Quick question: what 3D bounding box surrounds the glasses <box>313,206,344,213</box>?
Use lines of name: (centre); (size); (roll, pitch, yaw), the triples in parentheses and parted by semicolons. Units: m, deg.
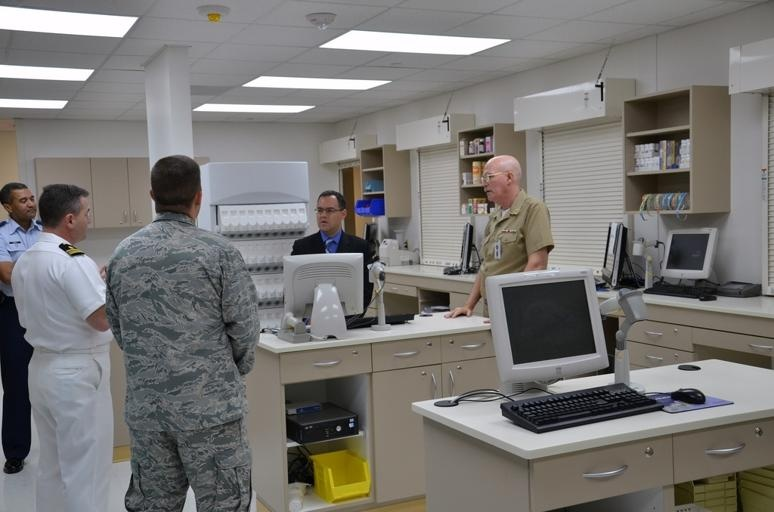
glasses: (-0.441, -0.382, 4.812); (0.218, 0.050, 0.130); (-4, 9, -8)

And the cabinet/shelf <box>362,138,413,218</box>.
cabinet/shelf: (0.020, -1.142, 9.026); (0.492, 1.099, 0.759); (-10, 12, -34)

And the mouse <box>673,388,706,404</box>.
mouse: (1.497, 0.693, 2.899); (0.073, 0.042, 0.122); (-2, 7, -31)

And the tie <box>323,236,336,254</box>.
tie: (-0.457, -0.084, 4.849); (0.124, 0.119, 0.032); (7, -16, -8)

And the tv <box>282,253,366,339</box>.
tv: (-0.434, 0.276, 4.081); (0.596, 0.571, 0.190); (-1, 13, -11)

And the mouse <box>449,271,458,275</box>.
mouse: (0.830, 0.206, 7.209); (0.079, 0.024, 0.053); (4, -6, -40)

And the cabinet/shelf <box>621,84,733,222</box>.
cabinet/shelf: (2.661, -0.959, 5.438); (0.506, 1.141, 0.874); (-11, 12, -39)
